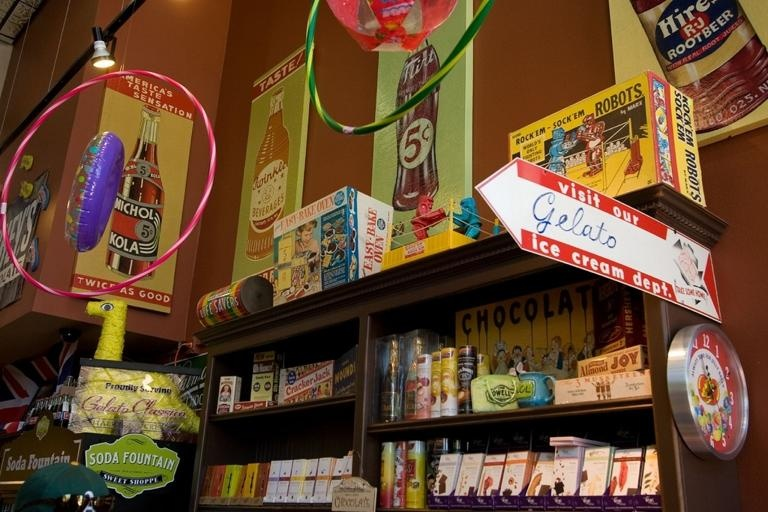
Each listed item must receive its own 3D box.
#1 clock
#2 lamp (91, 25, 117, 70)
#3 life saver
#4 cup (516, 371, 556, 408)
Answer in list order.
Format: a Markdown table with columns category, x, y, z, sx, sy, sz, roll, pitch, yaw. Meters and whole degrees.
| category | x | y | z | sx | sy | sz | roll | pitch | yaw |
| --- | --- | --- | --- | --- | --- | --- | --- | --- | --- |
| clock | 1.182 | 0.513 | 2.149 | 0.056 | 0.418 | 0.409 | -20 | -43 | 40 |
| lamp | -1.941 | -1.441 | 4.023 | 0.167 | 0.291 | 0.136 | -13 | -9 | -28 |
| life saver | -1.798 | -0.426 | 3.626 | 0.245 | 0.735 | 0.369 | 14 | -27 | -28 |
| cup | 0.615 | 0.567 | 2.459 | 0.113 | 0.151 | 0.149 | 28 | -44 | -31 |
